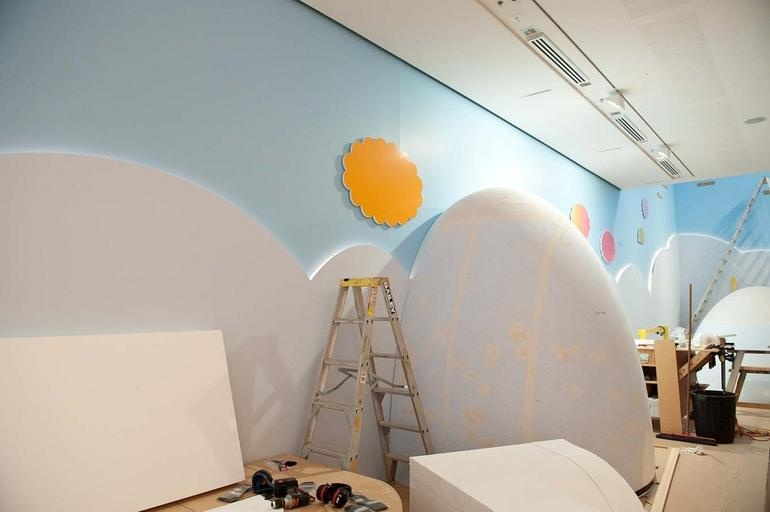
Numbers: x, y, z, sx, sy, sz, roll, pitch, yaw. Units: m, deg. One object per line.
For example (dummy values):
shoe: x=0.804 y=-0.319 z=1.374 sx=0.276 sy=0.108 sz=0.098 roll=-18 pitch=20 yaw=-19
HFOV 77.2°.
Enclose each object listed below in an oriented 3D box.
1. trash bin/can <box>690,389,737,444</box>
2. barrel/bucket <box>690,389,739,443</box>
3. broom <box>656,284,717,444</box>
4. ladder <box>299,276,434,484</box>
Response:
trash bin/can: x=3.373 y=1.662 z=5.013 sx=0.428 sy=0.422 sz=0.475 roll=-3 pitch=-8 yaw=17
barrel/bucket: x=3.407 y=1.667 z=5.006 sx=0.397 sy=0.457 sz=0.452 roll=2 pitch=-8 yaw=-9
broom: x=3.242 y=1.137 z=5.150 sx=0.329 sy=1.618 sz=0.583 roll=21 pitch=-19 yaw=-23
ladder: x=-0.110 y=0.882 z=3.348 sx=0.925 sy=1.517 sz=0.600 roll=4 pitch=-7 yaw=-34
